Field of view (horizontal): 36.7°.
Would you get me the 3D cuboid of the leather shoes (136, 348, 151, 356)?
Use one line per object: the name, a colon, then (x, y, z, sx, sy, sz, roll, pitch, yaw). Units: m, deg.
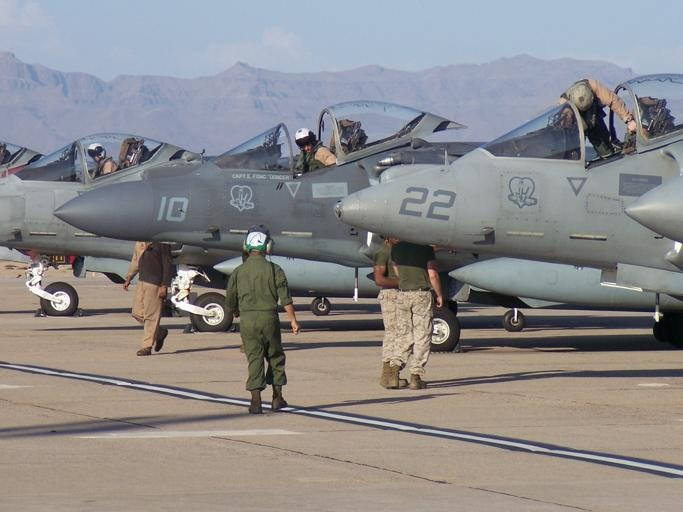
leather shoes: (-3.044, 1.486, 15.946, 0.202, 0.090, 0.102, 3, 2, -4)

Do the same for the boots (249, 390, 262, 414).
boots: (-0.952, 1.651, 11.760, 0.156, 0.265, 0.243, 4, 1, -4)

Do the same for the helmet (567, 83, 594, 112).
helmet: (3.171, -2.105, 13.803, 0.343, 0.293, 0.422, -21, 3, 7)

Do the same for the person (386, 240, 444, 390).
person: (0.917, 0.764, 13.316, 0.691, 1.895, 0.490, 5, 0, 15)

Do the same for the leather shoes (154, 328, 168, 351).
leather shoes: (-2.855, 1.322, 16.321, 0.170, 0.397, 0.198, 18, 8, 20)

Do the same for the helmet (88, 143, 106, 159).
helmet: (-4.691, -2.017, 19.922, 0.357, 0.282, 0.269, -24, 28, -26)

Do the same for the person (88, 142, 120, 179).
person: (-4.564, -1.783, 19.870, 0.544, 0.656, 0.552, -12, 19, -32)

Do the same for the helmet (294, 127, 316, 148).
helmet: (-0.569, -1.960, 17.349, 0.344, 0.278, 0.343, -12, -18, 10)

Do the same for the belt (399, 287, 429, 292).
belt: (0.960, 0.440, 13.309, 0.376, 0.048, 0.125, 3, 1, -7)

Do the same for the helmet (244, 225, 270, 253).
helmet: (-0.954, -0.176, 12.165, 0.353, 0.266, 0.325, 1, -14, 2)

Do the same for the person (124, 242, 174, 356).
person: (-3.042, 0.653, 16.337, 0.681, 1.693, 0.983, 4, 0, -11)

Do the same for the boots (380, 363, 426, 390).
boots: (0.732, 1.554, 13.267, 0.744, 0.375, 0.246, -2, 7, -9)
